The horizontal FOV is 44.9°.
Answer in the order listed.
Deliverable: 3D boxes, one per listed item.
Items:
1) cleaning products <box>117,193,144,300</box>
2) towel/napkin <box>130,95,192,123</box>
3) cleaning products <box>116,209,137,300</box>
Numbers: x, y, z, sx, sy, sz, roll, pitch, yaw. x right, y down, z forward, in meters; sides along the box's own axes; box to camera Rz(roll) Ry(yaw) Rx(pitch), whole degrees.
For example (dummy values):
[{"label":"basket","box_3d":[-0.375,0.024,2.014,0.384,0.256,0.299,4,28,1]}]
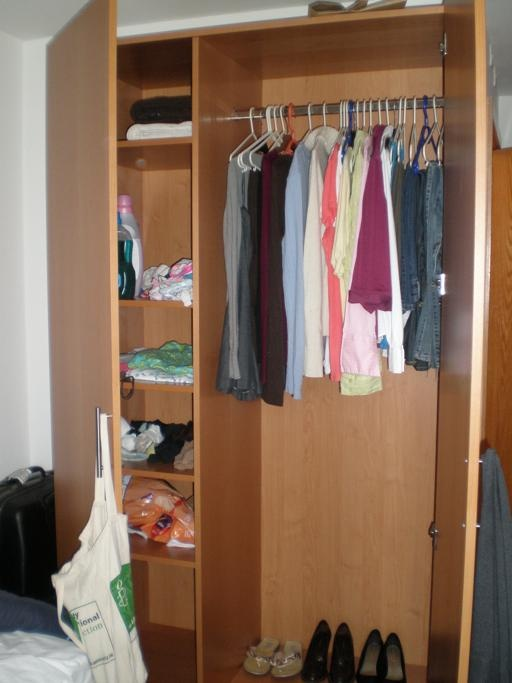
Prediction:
[{"label":"cleaning products","box_3d":[-0.406,-0.361,2.171,0.082,0.302,0.070,12,31,43]},{"label":"towel/napkin","box_3d":[-0.303,-0.751,2.001,0.137,0.061,0.161,-3,16,-4]},{"label":"cleaning products","box_3d":[-0.450,-0.338,2.124,0.092,0.363,0.089,-4,42,-15]}]
